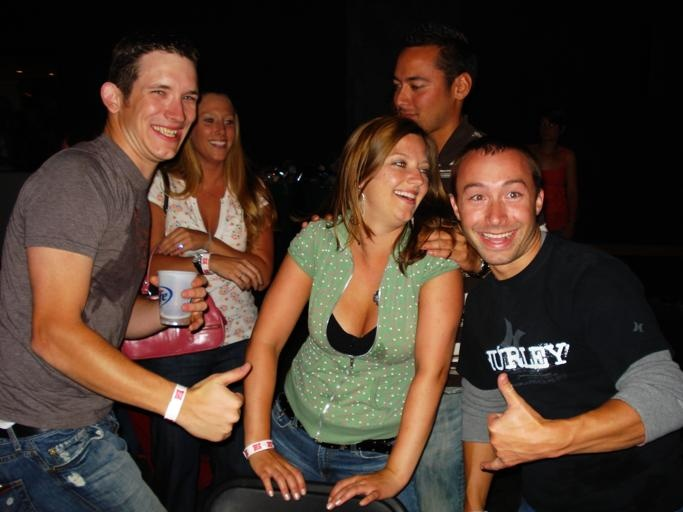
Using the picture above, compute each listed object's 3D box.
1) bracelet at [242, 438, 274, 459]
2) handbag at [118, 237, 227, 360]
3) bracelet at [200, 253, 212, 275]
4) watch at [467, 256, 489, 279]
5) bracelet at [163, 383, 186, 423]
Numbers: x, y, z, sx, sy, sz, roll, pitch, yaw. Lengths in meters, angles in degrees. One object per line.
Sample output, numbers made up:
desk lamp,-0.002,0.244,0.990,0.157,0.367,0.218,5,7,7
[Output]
bracelet,-0.400,0.869,2.523,0.098,0.099,0.094,-3,-15,-1
handbag,-0.897,0.241,2.875,0.645,0.613,0.270,-12,5,-26
bracelet,-0.813,0.039,3.257,0.043,0.101,0.084,-4,10,0
watch,0.689,0.066,2.777,0.110,0.089,0.050,-19,-47,36
bracelet,-0.637,0.552,2.087,0.060,0.115,0.110,20,-28,-7
